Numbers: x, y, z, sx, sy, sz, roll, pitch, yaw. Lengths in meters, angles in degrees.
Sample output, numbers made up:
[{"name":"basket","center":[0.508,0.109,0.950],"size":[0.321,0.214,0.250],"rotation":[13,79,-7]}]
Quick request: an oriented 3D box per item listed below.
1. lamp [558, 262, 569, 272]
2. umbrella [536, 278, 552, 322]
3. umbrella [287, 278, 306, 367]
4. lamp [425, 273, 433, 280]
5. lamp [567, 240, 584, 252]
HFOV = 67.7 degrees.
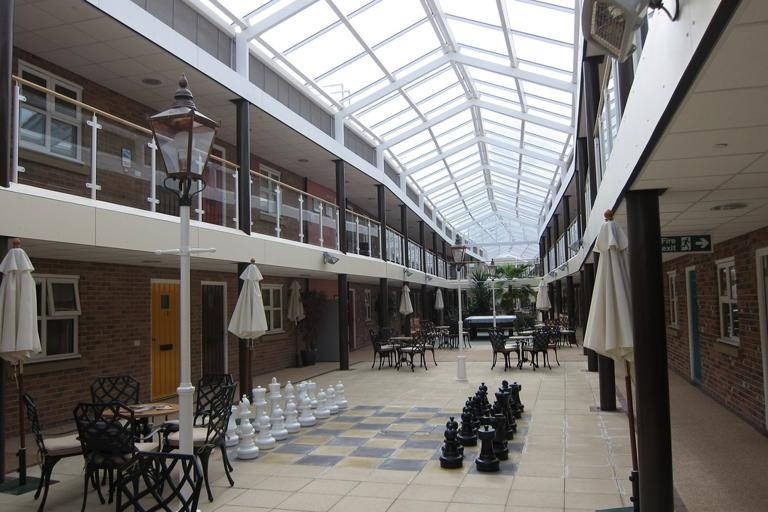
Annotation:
[{"name":"lamp","center":[6.869,0.418,22.016],"size":[0.314,0.354,0.401],"rotation":[-3,-31,12]},{"name":"umbrella","center":[6.852,1.827,24.829],"size":[0.599,1.694,0.590],"rotation":[5,20,41]},{"name":"umbrella","center":[-3.013,2.244,19.488],"size":[0.629,2.884,1.435],"rotation":[2,-12,-8]},{"name":"lamp","center":[2.295,1.095,29.764],"size":[0.303,0.396,0.574],"rotation":[1,1,25]},{"name":"lamp","center":[5.460,-0.313,16.357],"size":[0.522,0.231,0.391],"rotation":[-29,2,-9]}]
